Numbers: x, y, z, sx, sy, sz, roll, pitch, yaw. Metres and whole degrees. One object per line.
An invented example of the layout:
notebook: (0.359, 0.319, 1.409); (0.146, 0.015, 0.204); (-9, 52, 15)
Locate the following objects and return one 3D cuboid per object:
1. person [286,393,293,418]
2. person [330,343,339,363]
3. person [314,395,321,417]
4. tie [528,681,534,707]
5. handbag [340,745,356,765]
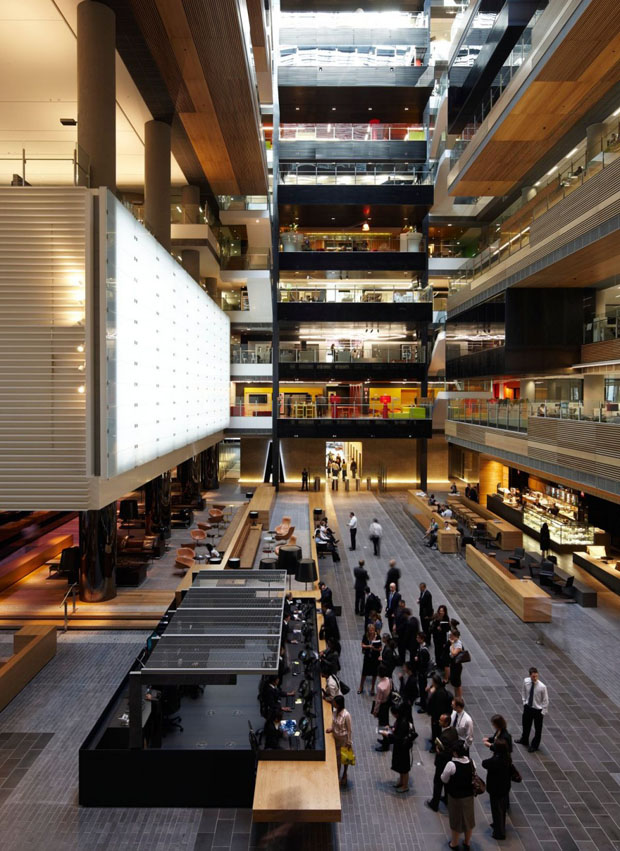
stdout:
person: (-1.018, -0.803, 26.833); (0.253, 1.047, 0.335); (1, -2, -10)
person: (1.222, -3.386, 27.430); (0.495, 1.107, 1.077); (-1, 2, 2)
person: (0.417, -0.758, 26.706); (0.389, 0.959, 0.259); (0, -2, 0)
tie: (2.603, 3.231, 6.748); (0.068, 0.262, 0.077); (-1, -2, 33)
handbag: (0.380, 3.448, 5.854); (0.159, 0.211, 0.142); (1, -2, -10)
